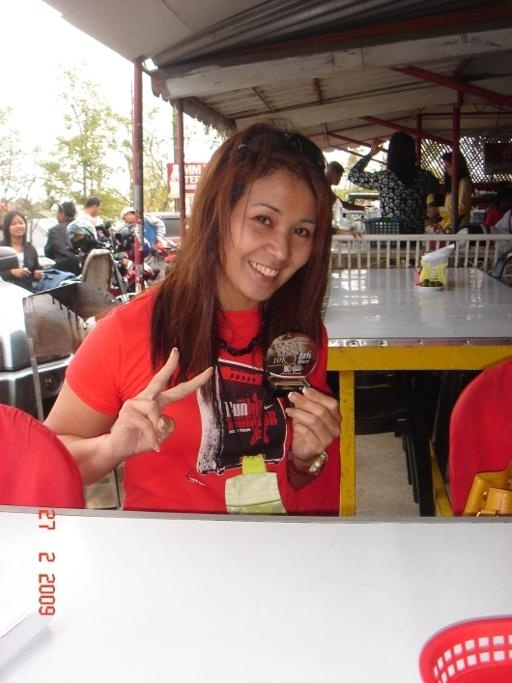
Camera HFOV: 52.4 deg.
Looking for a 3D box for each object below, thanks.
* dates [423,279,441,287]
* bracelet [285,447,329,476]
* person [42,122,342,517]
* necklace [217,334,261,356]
[{"bbox_3d":[0.908,-0.300,2.702,0.072,0.041,0.028,24,-9,32],"label":"dates"},{"bbox_3d":[0.125,0.299,1.258,0.074,0.085,0.040,0,9,28],"label":"bracelet"},{"bbox_3d":[-0.099,-0.048,1.334,0.701,0.964,0.547,3,7,-26],"label":"person"},{"bbox_3d":[-0.041,0.007,1.332,0.069,0.049,0.021,-16,-30,-29],"label":"necklace"}]
